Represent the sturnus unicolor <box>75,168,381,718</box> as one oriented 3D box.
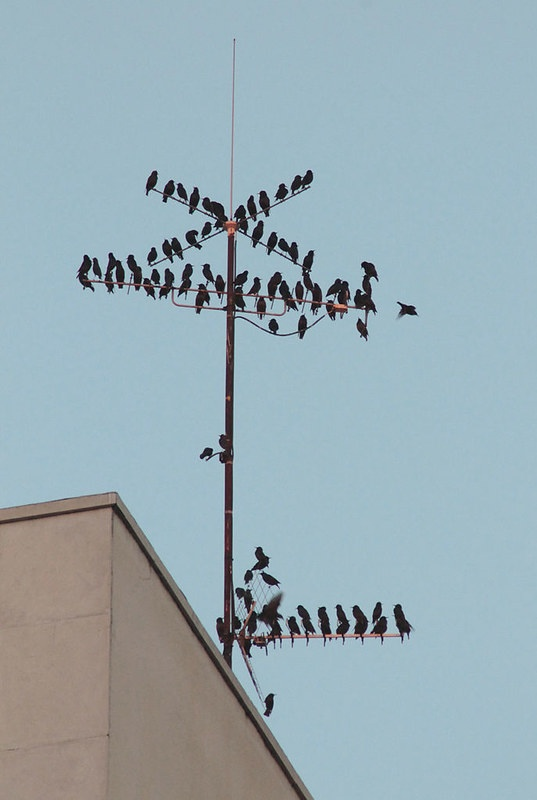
[{"bbox_3d":[-0.284,0.134,23.662,1.879,6.948,2.204,20,-36,-37],"label":"sturnus unicolor"}]
